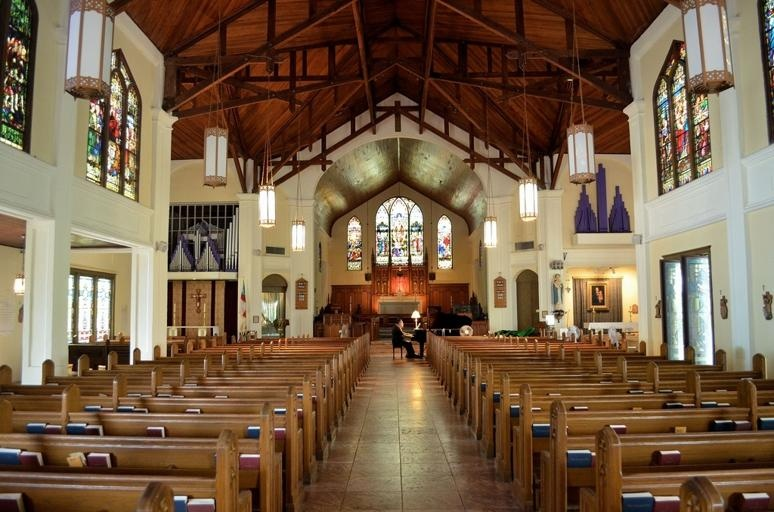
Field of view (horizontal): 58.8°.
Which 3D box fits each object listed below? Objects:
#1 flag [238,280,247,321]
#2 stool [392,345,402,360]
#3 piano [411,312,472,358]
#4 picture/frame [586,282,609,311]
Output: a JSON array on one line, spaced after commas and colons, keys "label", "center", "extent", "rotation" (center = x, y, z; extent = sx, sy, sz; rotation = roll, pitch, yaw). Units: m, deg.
[{"label": "flag", "center": [-4.725, 1.467, 22.671], "extent": [0.221, 1.133, 0.466], "rotation": [-2, 7, -11]}, {"label": "stool", "center": [0.374, 3.245, 23.159], "extent": [0.512, 0.553, 0.408], "rotation": [0, -8, 1]}, {"label": "piano", "center": [1.811, 2.623, 23.115], "extent": [1.966, 2.009, 1.204], "rotation": [0, -7, 2]}, {"label": "picture/frame", "center": [7.251, 1.436, 23.661], "extent": [0.850, 1.317, 0.131], "rotation": [1, -5, 0]}]
